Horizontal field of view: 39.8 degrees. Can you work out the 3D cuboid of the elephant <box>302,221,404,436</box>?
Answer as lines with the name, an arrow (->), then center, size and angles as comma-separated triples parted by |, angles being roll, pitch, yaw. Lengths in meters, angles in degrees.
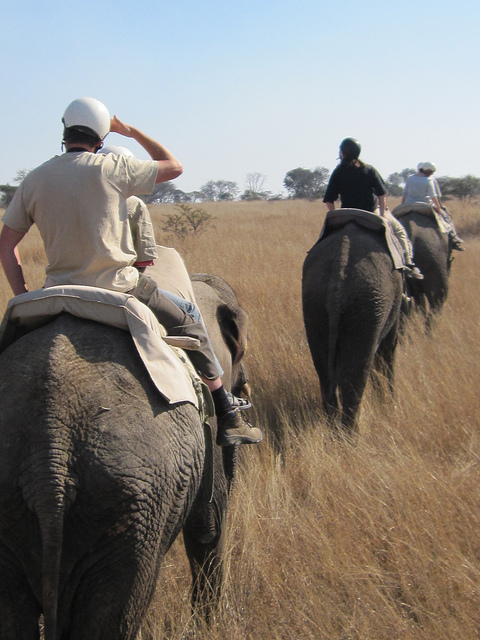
elephant -> 0.993, 0.031, 5.979 | 0.883, 1.803, 1.368 | 1, 13, 13

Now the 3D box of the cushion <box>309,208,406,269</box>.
cushion -> 1.125, -0.745, 6.395 | 0.728, 0.649, 0.908 | 1, 15, 11

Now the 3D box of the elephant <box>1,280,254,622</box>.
elephant -> -0.475, 0.537, 2.644 | 0.631, 1.126, 1.269 | 3, 13, 18

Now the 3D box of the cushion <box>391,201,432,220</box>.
cushion -> 2.664, -1.710, 10.169 | 0.413, 0.147, 0.441 | 0, 2, 8

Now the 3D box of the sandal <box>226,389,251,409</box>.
sandal -> -0.017, 0.474, 3.931 | 0.080, 0.080, 0.224 | -6, -18, 20

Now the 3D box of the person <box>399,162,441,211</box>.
person -> 2.892, -2.117, 10.518 | 0.614, 0.778, 1.077 | 2, 12, 16

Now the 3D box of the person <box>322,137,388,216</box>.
person -> 1.156, -1.415, 6.593 | 0.600, 0.726, 0.363 | 0, 13, 6
